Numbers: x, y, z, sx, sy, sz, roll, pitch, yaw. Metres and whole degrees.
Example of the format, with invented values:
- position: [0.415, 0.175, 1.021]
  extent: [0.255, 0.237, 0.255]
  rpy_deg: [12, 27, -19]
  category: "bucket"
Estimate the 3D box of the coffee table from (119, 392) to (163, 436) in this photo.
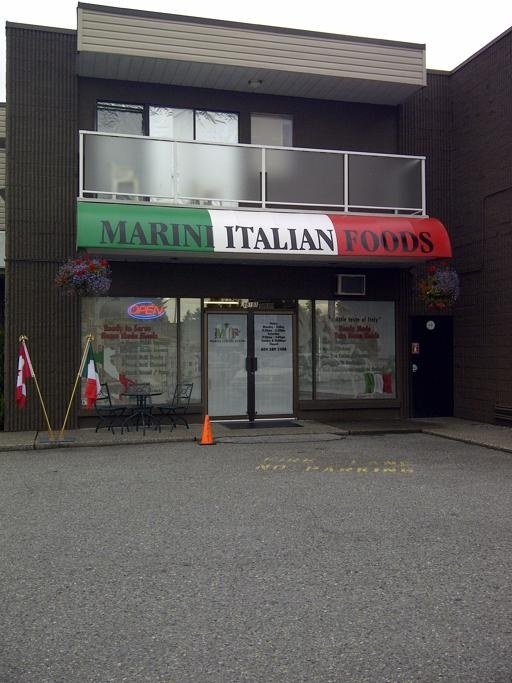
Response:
- position: [-2.323, 1.394, 13.411]
  extent: [0.766, 0.793, 0.832]
  rpy_deg: [1, -1, 30]
  category: "coffee table"

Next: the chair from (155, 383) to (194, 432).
- position: [-1.696, 1.296, 14.017]
  extent: [0.707, 1.280, 0.851]
  rpy_deg: [-2, -6, 34]
  category: "chair"

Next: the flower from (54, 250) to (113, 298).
- position: [-3.126, -1.274, 12.571]
  extent: [0.817, 0.791, 0.899]
  rpy_deg: [1, 4, 31]
  category: "flower"

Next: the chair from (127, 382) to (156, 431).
- position: [-2.275, 1.263, 13.326]
  extent: [0.552, 0.894, 0.548]
  rpy_deg: [-3, -3, -19]
  category: "chair"

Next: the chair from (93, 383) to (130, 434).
- position: [-2.884, 1.329, 13.470]
  extent: [0.709, 0.987, 0.731]
  rpy_deg: [-1, 0, -37]
  category: "chair"

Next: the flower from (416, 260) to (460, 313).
- position: [3.942, -1.217, 14.592]
  extent: [0.870, 1.022, 0.880]
  rpy_deg: [2, 3, -32]
  category: "flower"
